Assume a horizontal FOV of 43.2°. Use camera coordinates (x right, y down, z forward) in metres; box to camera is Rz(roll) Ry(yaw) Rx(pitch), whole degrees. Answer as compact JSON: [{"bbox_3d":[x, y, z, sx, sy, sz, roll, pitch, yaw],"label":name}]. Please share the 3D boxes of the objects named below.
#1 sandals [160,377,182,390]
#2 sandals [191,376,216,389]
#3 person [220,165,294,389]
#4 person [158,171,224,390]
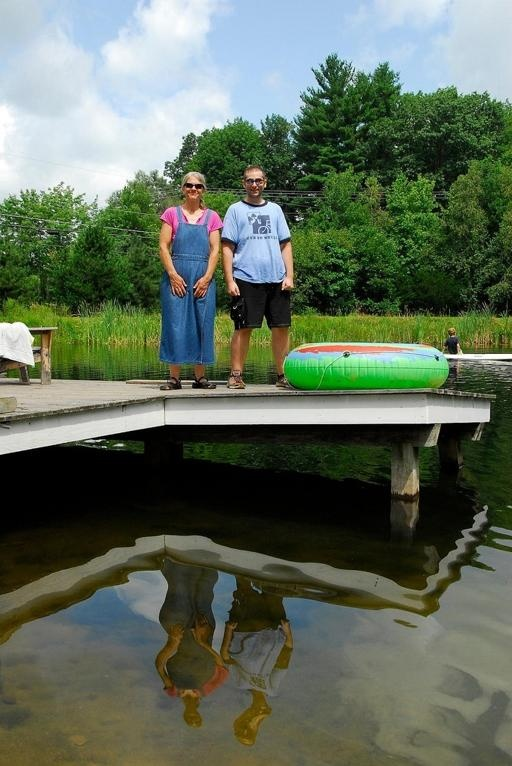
[{"bbox_3d":[-0.671,0.005,5.202,0.084,0.082,0.208,-2,-6,9],"label":"sandals"},{"bbox_3d":[-0.405,0.000,5.309,0.245,0.104,0.091,0,7,5],"label":"sandals"},{"bbox_3d":[0.030,-0.837,5.131,0.602,1.768,0.500,-3,8,-10],"label":"person"},{"bbox_3d":[-0.531,-0.781,5.086,0.488,1.703,0.530,1,8,14],"label":"person"}]
